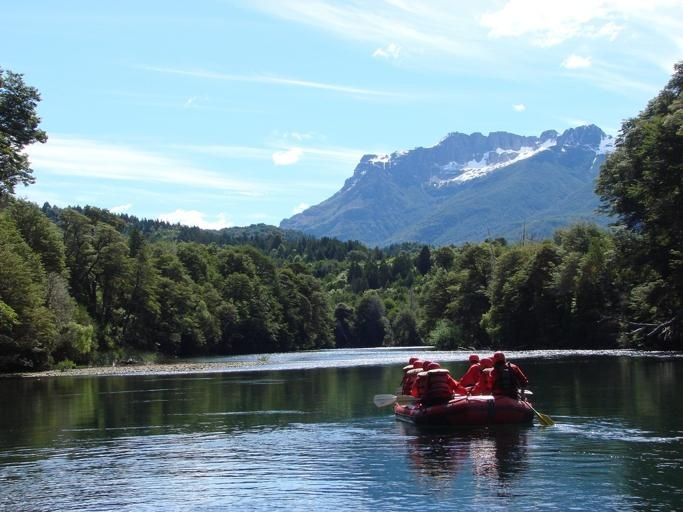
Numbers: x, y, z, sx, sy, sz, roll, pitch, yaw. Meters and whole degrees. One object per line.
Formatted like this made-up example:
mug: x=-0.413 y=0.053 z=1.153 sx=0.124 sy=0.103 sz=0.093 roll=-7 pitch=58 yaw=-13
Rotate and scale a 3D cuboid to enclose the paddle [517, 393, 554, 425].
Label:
paddle: x=10.178 y=8.106 z=44.321 sx=0.246 sy=2.190 sz=0.187 roll=-12 pitch=-39 yaw=-36
